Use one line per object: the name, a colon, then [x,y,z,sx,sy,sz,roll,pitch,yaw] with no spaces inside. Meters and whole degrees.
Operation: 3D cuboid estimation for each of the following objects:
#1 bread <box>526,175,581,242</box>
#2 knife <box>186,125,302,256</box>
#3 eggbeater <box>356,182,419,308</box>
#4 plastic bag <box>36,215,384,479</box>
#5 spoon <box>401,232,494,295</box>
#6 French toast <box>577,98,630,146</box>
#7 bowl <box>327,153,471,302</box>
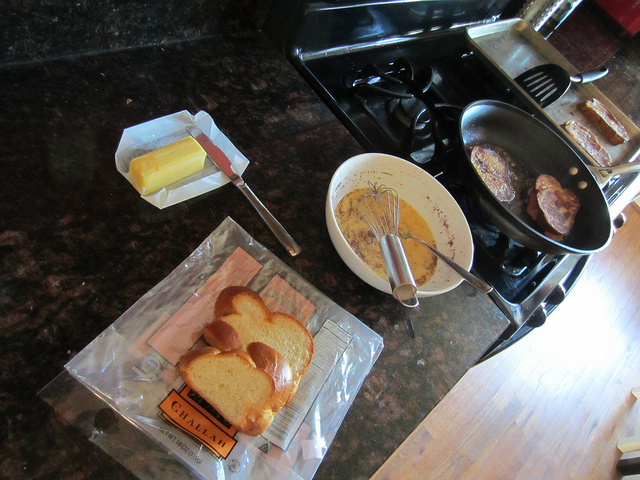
bread: [0.555,-0.077,1.237,0.120,0.045,0.144,38,66,2]
knife: [-0.163,-0.091,1.050,0.033,0.015,0.316,-33,89,-25]
eggbeater: [0.125,-0.005,1.022,0.059,0.063,0.243,12,65,-46]
plastic bag: [-0.169,0.223,0.850,0.435,0.073,0.497,42,68,2]
spoon: [0.253,0.051,1.050,0.032,0.026,0.193,-26,41,-14]
French toast: [0.821,-0.336,1.526,0.166,0.042,0.096,50,48,0]
bowl: [0.132,0.005,1.106,0.305,0.125,0.283,22,50,-29]
